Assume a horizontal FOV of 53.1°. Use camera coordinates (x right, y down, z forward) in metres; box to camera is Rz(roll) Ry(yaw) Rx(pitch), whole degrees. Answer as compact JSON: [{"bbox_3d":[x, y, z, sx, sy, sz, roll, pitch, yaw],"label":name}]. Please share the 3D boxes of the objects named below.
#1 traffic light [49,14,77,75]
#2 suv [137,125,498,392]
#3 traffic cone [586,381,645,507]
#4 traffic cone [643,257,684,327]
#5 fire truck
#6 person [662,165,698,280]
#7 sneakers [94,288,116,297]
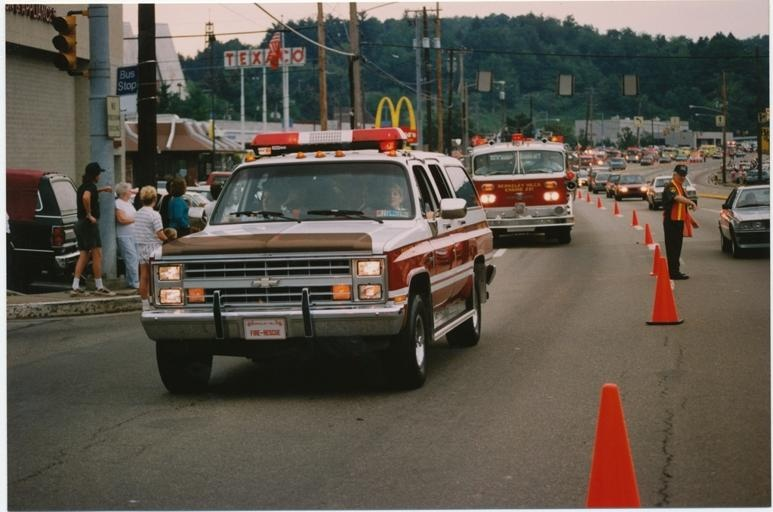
[{"bbox_3d":[-6.657,-4.408,16.035,0.456,1.172,0.708,-7,11,-22],"label":"traffic light"},{"bbox_3d":[-0.752,-0.011,9.779,2.807,2.962,7.478,0,1,12],"label":"suv"},{"bbox_3d":[1.640,1.393,5.874,0.447,0.875,0.547,-2,-2,-5],"label":"traffic cone"},{"bbox_3d":[4.597,0.585,12.759,0.541,1.196,0.589,0,1,1],"label":"traffic cone"},{"bbox_3d":[5.049,-2.802,28.133,3.691,3.657,7.047,-1,11,9],"label":"fire truck"},{"bbox_3d":[6.431,-0.726,16.943,0.892,2.943,0.848,0,0,8],"label":"person"},{"bbox_3d":[-5.778,0.743,15.815,0.389,0.170,0.208,1,5,3],"label":"sneakers"}]
